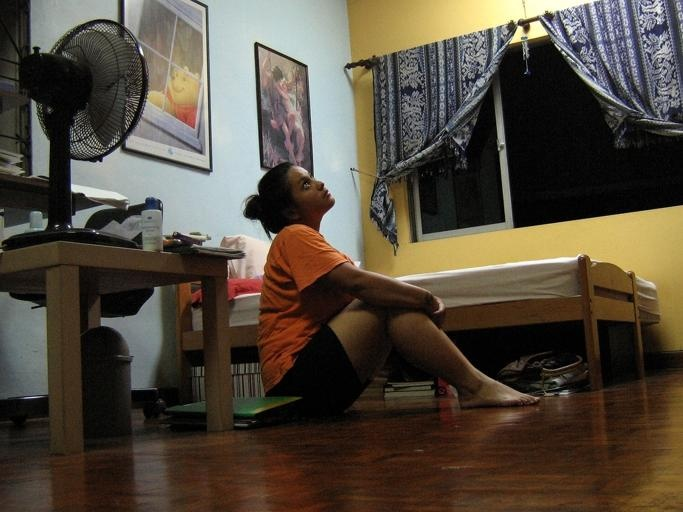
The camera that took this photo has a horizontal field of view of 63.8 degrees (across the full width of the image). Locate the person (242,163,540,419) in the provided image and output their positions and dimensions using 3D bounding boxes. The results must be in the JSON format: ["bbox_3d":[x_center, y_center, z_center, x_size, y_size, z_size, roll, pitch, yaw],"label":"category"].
[{"bbox_3d":[0.151,0.103,2.051,0.916,0.992,0.663,-7,-16,7],"label":"person"}]

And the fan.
[{"bbox_3d":[-0.799,-0.367,1.607,0.402,0.720,0.319,-4,-2,27],"label":"fan"}]
